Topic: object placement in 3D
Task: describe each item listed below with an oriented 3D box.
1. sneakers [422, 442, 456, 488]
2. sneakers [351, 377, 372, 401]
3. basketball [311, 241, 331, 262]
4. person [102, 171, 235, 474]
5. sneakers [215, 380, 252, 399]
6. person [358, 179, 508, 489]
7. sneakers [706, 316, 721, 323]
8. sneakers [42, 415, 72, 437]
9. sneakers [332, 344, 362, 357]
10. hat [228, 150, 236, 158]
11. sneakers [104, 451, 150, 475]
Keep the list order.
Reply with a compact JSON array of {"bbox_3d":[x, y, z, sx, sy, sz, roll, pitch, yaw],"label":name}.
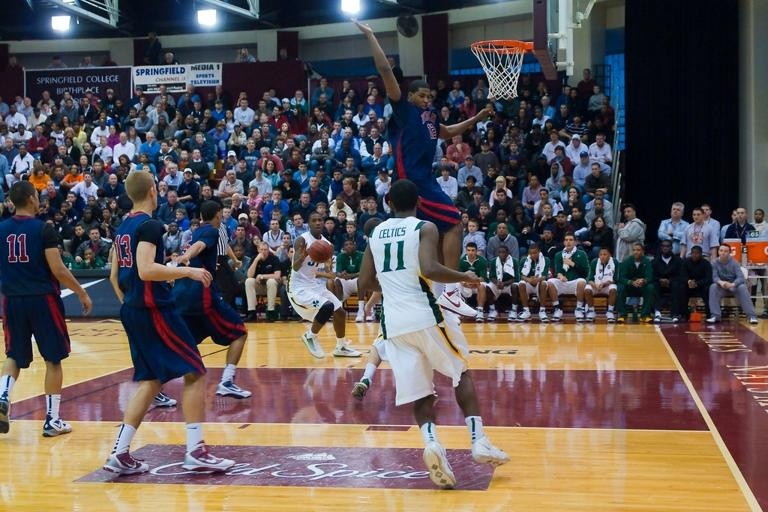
[{"bbox_3d":[0.502,1.927,7.503,0.192,0.527,0.219,-22,17,23],"label":"sneakers"},{"bbox_3d":[-0.264,1.553,9.486,0.122,0.169,0.349,26,-13,9],"label":"sneakers"},{"bbox_3d":[-0.824,-0.069,10.780,0.254,0.278,0.256,16,-34,-28],"label":"basketball"},{"bbox_3d":[-2.215,0.630,7.967,1.014,2.911,0.720,-1,7,-1],"label":"person"},{"bbox_3d":[-1.842,1.634,9.902,0.493,0.252,0.184,7,2,-16],"label":"sneakers"},{"bbox_3d":[0.393,0.701,7.745,0.755,2.834,1.316,-6,9,-35],"label":"person"},{"bbox_3d":[5.847,1.121,14.379,0.213,0.114,0.263,2,8,25],"label":"sneakers"},{"bbox_3d":[-3.564,1.862,8.895,0.326,0.219,0.152,-4,7,-38],"label":"sneakers"},{"bbox_3d":[-0.540,1.404,12.012,0.423,0.192,0.180,1,-3,0],"label":"sneakers"},{"bbox_3d":[-3.693,-2.475,19.603,0.154,0.135,0.250,-9,-15,-2],"label":"hat"},{"bbox_3d":[-2.492,2.009,7.934,0.485,0.262,0.184,6,5,-22],"label":"sneakers"}]
